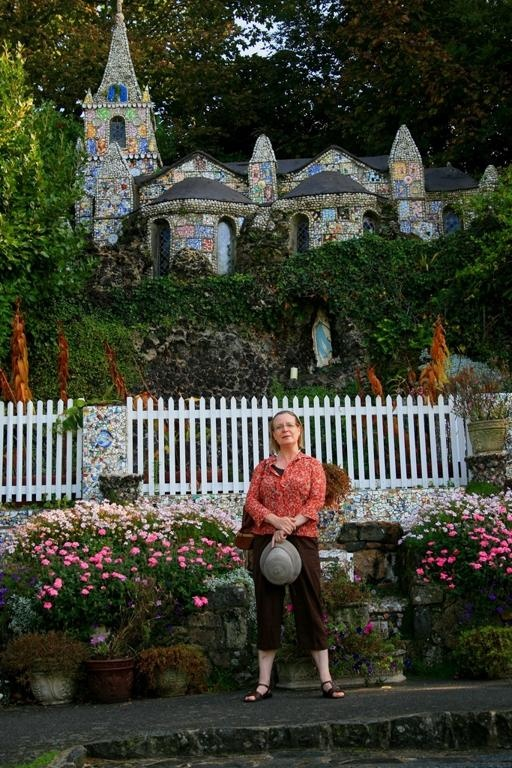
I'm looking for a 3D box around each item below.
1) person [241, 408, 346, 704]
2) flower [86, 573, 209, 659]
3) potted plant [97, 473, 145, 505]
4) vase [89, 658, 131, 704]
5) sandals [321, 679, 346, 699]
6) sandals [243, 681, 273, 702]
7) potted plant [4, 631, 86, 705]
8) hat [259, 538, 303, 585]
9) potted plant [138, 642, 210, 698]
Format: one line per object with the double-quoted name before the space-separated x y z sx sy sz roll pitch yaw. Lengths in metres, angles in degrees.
"person" 0.239 1.436 9.510 0.793 2.366 0.796 -3 10 1
"flower" -1.023 2.172 11.166 1.294 0.806 1.714 3 -5 5
"potted plant" -1.551 1.172 13.101 0.386 0.222 0.365 1 -12 -7
"vase" -1.285 2.567 10.064 0.405 0.284 0.381 -4 -28 -1
"sandals" 0.610 2.451 9.327 0.097 0.094 0.229 -7 -26 -9
"sandals" 0.025 2.508 9.443 0.106 0.107 0.270 -12 -16 41
"potted plant" -1.854 2.470 10.333 0.750 0.584 0.661 -2 -12 1
"hat" 0.182 1.411 9.188 0.335 0.348 0.109 -21 -5 16
"potted plant" -0.746 2.546 10.282 0.483 0.335 0.476 1 -14 -3
